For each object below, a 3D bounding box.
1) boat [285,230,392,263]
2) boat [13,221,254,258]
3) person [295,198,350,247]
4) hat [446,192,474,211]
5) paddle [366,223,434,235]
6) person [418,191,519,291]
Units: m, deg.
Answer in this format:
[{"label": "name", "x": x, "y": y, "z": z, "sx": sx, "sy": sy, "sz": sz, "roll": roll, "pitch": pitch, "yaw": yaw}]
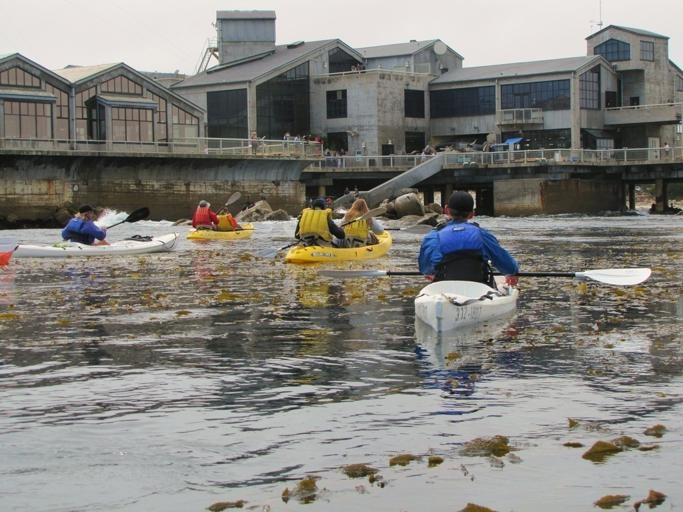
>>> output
[{"label": "boat", "x": 0.133, "y": -0.256, "z": 26.262, "sx": 0.798, "sy": 0.350, "sz": 2.593, "roll": 6, "pitch": 9, "yaw": 33}, {"label": "boat", "x": -4.903, "y": -0.242, "z": 29.046, "sx": 1.171, "sy": 0.548, "sz": 6.313, "roll": 9, "pitch": 8, "yaw": 30}, {"label": "person", "x": -0.427, "y": -0.684, "z": 25.411, "sx": 1.010, "sy": 1.154, "sz": 0.983, "roll": -2, "pitch": 15, "yaw": -2}, {"label": "hat", "x": 1.515, "y": -0.727, "z": 15.928, "sx": 0.323, "sy": 0.314, "sz": 0.464, "roll": 0, "pitch": 13, "yaw": 5}, {"label": "paddle", "x": 1.961, "y": -0.889, "z": 37.978, "sx": 0.474, "sy": 0.536, "sz": 3.194, "roll": 1, "pitch": 0, "yaw": -29}, {"label": "person", "x": 1.601, "y": -0.234, "z": 16.110, "sx": 1.201, "sy": 1.353, "sz": 0.497, "roll": -1, "pitch": 16, "yaw": 2}]
